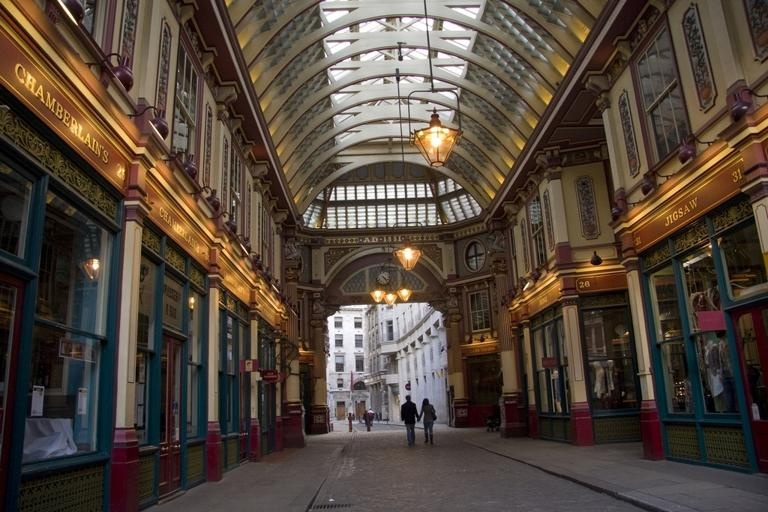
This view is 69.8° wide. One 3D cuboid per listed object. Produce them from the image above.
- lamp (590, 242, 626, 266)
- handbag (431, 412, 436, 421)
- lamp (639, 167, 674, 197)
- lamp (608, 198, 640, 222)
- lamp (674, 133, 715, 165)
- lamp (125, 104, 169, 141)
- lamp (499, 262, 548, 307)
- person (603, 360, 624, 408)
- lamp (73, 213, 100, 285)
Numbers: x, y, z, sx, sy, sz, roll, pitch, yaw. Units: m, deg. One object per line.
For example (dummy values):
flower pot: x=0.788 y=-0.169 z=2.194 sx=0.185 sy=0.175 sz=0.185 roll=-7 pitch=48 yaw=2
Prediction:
lamp: x=7.195 y=-0.029 z=17.575 sx=1.099 sy=0.767 sz=0.414 roll=-14 pitch=8 yaw=-16
handbag: x=1.922 y=6.183 z=21.276 sx=0.120 sy=0.305 sz=0.258 roll=-6 pitch=-13 yaw=14
lamp: x=6.483 y=-1.755 z=13.095 sx=0.567 sy=0.601 sz=0.374 roll=-1 pitch=-2 yaw=6
lamp: x=6.179 y=-1.177 z=14.179 sx=0.775 sy=0.545 sz=0.293 roll=-15 pitch=-19 yaw=41
lamp: x=6.599 y=-2.250 z=11.638 sx=0.860 sy=0.761 sz=0.289 roll=2 pitch=-22 yaw=8
lamp: x=-4.379 y=-2.557 z=10.202 sx=0.610 sy=0.644 sz=0.372 roll=-4 pitch=-5 yaw=-10
lamp: x=5.707 y=1.174 z=22.197 sx=0.613 sy=0.895 sz=4.011 roll=4 pitch=-21 yaw=-18
person: x=7.376 y=4.082 z=17.572 sx=0.570 sy=1.494 sz=0.178 roll=-8 pitch=-13 yaw=22
lamp: x=-4.829 y=-0.064 z=9.012 sx=0.166 sy=0.902 sz=0.529 roll=-2 pitch=-12 yaw=-4
